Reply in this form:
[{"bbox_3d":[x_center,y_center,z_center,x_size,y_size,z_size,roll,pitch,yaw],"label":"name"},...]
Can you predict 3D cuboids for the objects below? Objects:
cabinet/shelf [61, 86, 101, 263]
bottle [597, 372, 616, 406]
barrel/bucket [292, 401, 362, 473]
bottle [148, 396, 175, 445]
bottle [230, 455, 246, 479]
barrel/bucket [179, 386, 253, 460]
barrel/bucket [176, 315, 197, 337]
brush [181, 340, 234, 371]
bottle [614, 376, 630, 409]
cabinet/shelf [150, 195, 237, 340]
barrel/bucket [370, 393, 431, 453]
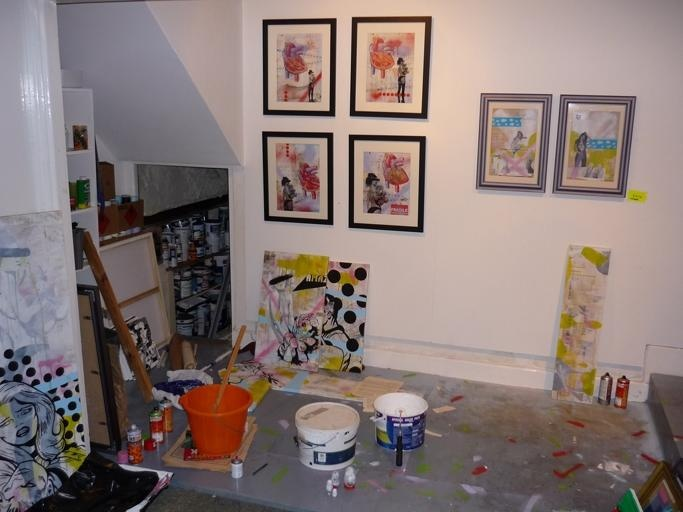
[{"bbox_3d":[-2.115,-0.692,4.080,0.204,1.287,0.442,0,13,-4],"label":"cabinet/shelf"},{"bbox_3d":[2.259,1.115,4.284,0.115,0.247,0.180,8,15,29],"label":"bottle"},{"bbox_3d":[-0.100,1.287,3.620,0.450,0.312,0.458,0,8,0],"label":"barrel/bucket"},{"bbox_3d":[-1.354,1.252,3.790,0.115,0.340,0.241,1,6,10],"label":"bottle"},{"bbox_3d":[-0.703,1.428,3.403,0.098,0.111,0.098,0,13,-4],"label":"bottle"},{"bbox_3d":[-0.889,1.196,3.625,0.473,0.376,0.469,4,9,-1],"label":"barrel/bucket"},{"bbox_3d":[-1.804,0.811,5.905,0.222,0.225,0.230,3,9,0],"label":"barrel/bucket"},{"bbox_3d":[-1.373,0.979,4.866,0.254,0.097,0.359,9,10,8],"label":"brush"},{"bbox_3d":[2.384,1.129,4.249,0.107,0.253,0.186,9,15,32],"label":"bottle"},{"bbox_3d":[-1.771,0.215,6.066,0.489,1.643,1.358,5,14,19],"label":"cabinet/shelf"},{"bbox_3d":[0.439,1.234,3.753,0.391,0.303,0.398,1,13,0],"label":"barrel/bucket"}]
